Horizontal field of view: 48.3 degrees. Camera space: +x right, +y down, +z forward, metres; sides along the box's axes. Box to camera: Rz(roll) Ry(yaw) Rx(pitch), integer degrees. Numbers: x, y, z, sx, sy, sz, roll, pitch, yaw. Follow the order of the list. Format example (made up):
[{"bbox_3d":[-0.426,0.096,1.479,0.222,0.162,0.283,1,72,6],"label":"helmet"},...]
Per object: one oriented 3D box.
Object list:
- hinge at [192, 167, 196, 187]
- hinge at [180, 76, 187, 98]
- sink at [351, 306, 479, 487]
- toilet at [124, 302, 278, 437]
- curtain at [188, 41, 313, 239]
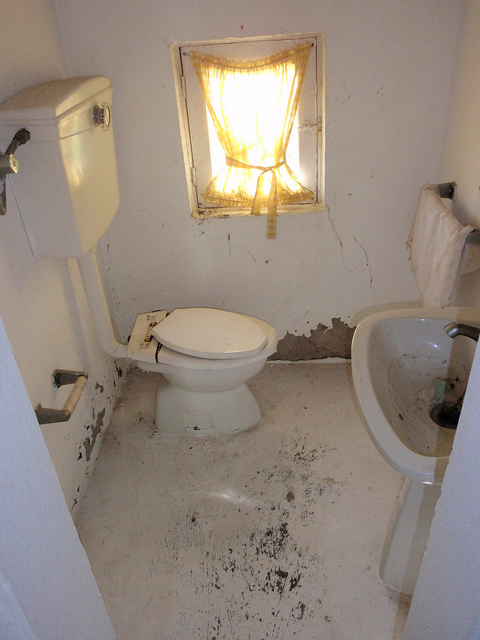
[{"bbox_3d":[-0.171,-0.538,1.996,0.012,0.055,0.011,-8,14,-41],"label":"hinge"},{"bbox_3d":[-0.193,-0.805,1.839,0.020,0.067,0.013,-7,25,-9],"label":"hinge"},{"bbox_3d":[0.329,0.206,1.152,0.274,0.179,0.449,2,47,16],"label":"sink"},{"bbox_3d":[-0.119,0.163,1.903,0.411,0.419,0.350,3,42,-2],"label":"toilet"},{"bbox_3d":[0.057,-0.621,1.894,0.405,0.625,0.155,1,25,8],"label":"curtain"}]
